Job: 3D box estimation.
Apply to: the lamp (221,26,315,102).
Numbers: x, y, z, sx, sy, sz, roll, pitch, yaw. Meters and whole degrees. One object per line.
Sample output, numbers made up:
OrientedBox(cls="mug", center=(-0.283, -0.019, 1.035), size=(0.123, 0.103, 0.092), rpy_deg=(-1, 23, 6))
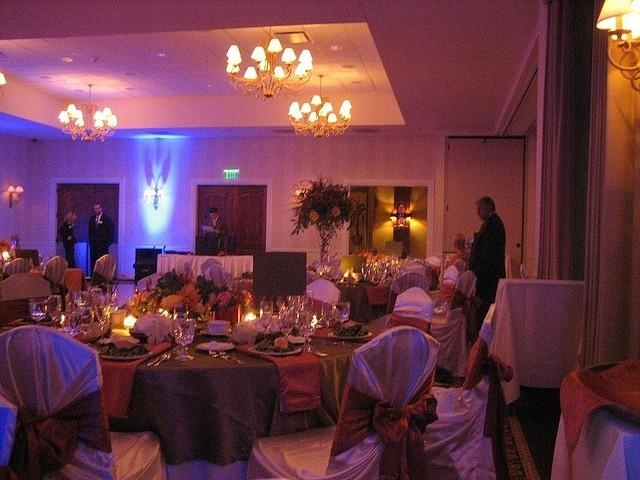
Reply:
OrientedBox(cls="lamp", center=(-0.644, -2.109, 6.663), size=(1.039, 0.831, 1.156), rpy_deg=(-1, 0, 7))

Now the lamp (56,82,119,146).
OrientedBox(cls="lamp", center=(-4.899, -2.708, 11.209), size=(0.909, 1.191, 0.911), rpy_deg=(12, 12, 35))

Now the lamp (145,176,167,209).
OrientedBox(cls="lamp", center=(-3.972, -1.116, 12.780), size=(0.414, 0.752, 0.432), rpy_deg=(3, -1, -29))

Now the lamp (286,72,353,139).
OrientedBox(cls="lamp", center=(-0.026, -2.366, 9.243), size=(0.863, 1.195, 0.877), rpy_deg=(4, 1, 42))

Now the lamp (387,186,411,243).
OrientedBox(cls="lamp", center=(2.186, -0.607, 14.485), size=(0.484, 1.717, 0.458), rpy_deg=(2, 34, 8))

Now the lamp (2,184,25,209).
OrientedBox(cls="lamp", center=(-7.526, -1.071, 13.046), size=(0.390, 0.587, 0.388), rpy_deg=(0, 0, -33))
